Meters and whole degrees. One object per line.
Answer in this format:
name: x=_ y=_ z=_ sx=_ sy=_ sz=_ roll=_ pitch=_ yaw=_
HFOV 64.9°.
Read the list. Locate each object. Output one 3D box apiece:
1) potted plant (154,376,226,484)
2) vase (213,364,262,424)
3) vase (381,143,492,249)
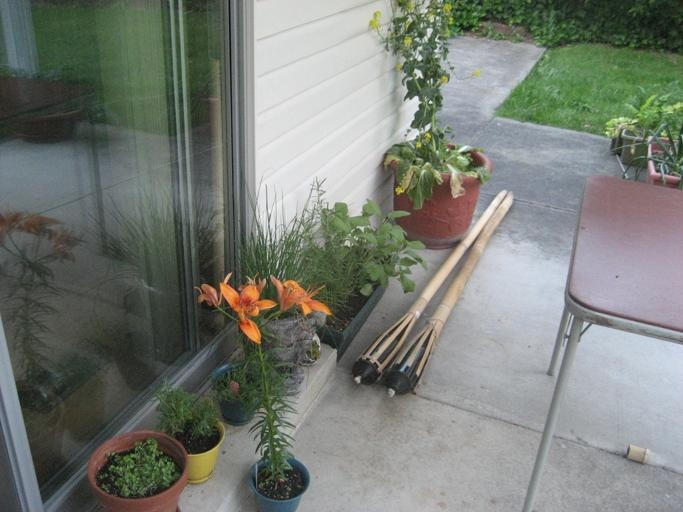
potted plant: x=-0.565 y=0.654 z=1.990 sx=0.263 sy=0.306 sz=0.253 roll=12 pitch=30 yaw=18
vase: x=-0.402 y=0.617 z=2.243 sx=0.182 sy=0.182 sz=0.209 roll=9 pitch=-20 yaw=-32
vase: x=0.687 y=-0.388 z=3.830 sx=0.668 sy=0.543 sz=0.678 roll=29 pitch=46 yaw=35
